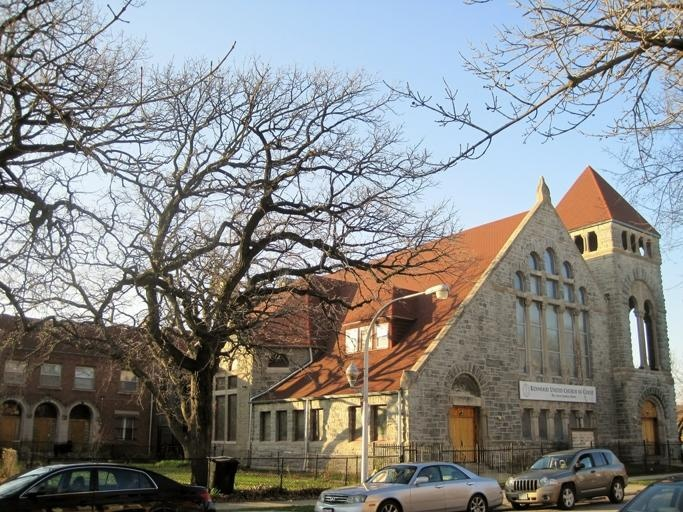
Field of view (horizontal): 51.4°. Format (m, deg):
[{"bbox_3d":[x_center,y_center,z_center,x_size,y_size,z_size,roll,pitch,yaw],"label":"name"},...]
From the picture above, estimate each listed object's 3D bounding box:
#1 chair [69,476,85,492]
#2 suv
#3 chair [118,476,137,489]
[{"bbox_3d":[-6.858,5.902,18.471,0.301,0.410,0.370,8,-25,2],"label":"chair"},{"bbox_3d":[8.528,8.384,26.820,4.597,2.133,1.609,9,-21,-29],"label":"suv"},{"bbox_3d":[-5.695,6.015,18.857,0.266,0.271,0.280,7,-19,-18],"label":"chair"}]
